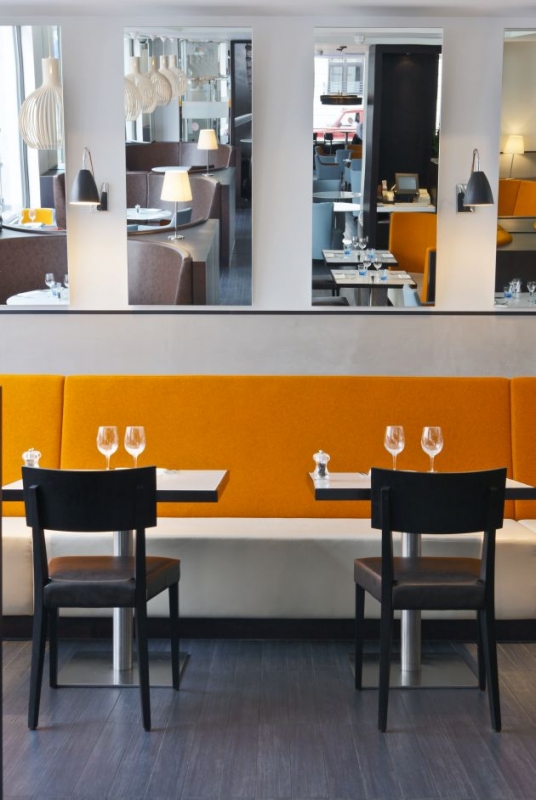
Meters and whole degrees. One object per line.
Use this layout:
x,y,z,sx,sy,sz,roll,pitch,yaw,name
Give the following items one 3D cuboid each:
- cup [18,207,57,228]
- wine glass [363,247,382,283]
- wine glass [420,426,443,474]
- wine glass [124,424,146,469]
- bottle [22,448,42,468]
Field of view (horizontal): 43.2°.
-1.039,-0.829,3.076,0.108,0.092,0.088,1,4,-14,cup
0.478,-0.618,3.109,0.080,0.150,0.034,0,1,3,wine glass
0.638,0.200,2.641,0.067,0.204,0.546,0,0,13,wine glass
-0.505,0.182,2.582,0.065,0.174,0.471,0,0,-10,wine glass
-0.912,0.225,2.615,0.059,0.110,0.049,1,-3,-4,bottle
